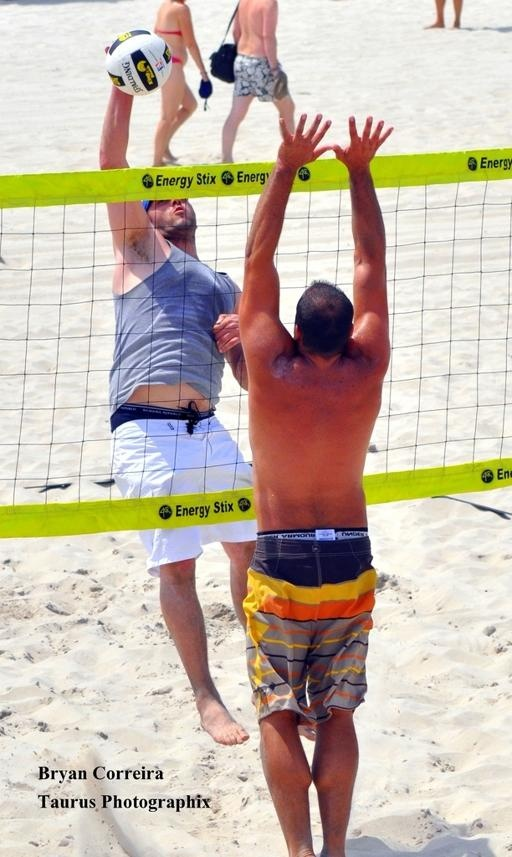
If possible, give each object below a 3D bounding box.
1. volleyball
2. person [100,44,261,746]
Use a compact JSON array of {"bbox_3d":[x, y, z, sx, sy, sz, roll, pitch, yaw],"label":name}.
[{"bbox_3d":[-0.379,-1.185,3.328,0.198,0.210,0.255,-4,16,-6],"label":"volleyball"},{"bbox_3d":[-0.183,-0.070,3.391,0.638,2.219,0.641,-2,-4,-21],"label":"person"}]
